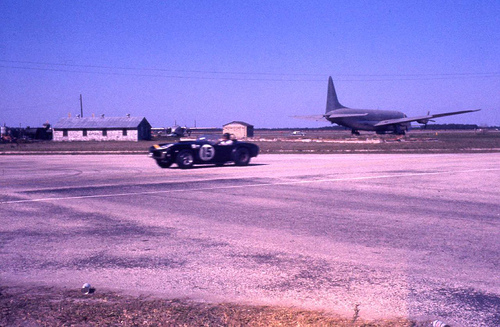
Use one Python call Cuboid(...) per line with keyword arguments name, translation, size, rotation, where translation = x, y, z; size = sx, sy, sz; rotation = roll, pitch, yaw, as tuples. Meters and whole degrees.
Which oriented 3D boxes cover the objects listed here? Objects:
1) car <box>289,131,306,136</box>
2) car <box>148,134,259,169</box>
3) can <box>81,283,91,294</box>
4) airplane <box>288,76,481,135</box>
Cuboid(name="car", translation=(10.464, -5.057, 103.427), size=(2.968, 0.691, 1.713), rotation=(-1, 3, 9))
Cuboid(name="car", translation=(-2.142, -0.226, 21.001), size=(3.746, 0.988, 1.896), rotation=(2, -1, -31))
Cuboid(name="can", translation=(-2.517, 1.853, 7.200), size=(0.118, 0.121, 0.111), rotation=(6, 12, 3))
Cuboid(name="airplane", translation=(18.434, -6.048, 75.492), size=(16.004, 5.705, 21.620), rotation=(-2, 4, -37))
